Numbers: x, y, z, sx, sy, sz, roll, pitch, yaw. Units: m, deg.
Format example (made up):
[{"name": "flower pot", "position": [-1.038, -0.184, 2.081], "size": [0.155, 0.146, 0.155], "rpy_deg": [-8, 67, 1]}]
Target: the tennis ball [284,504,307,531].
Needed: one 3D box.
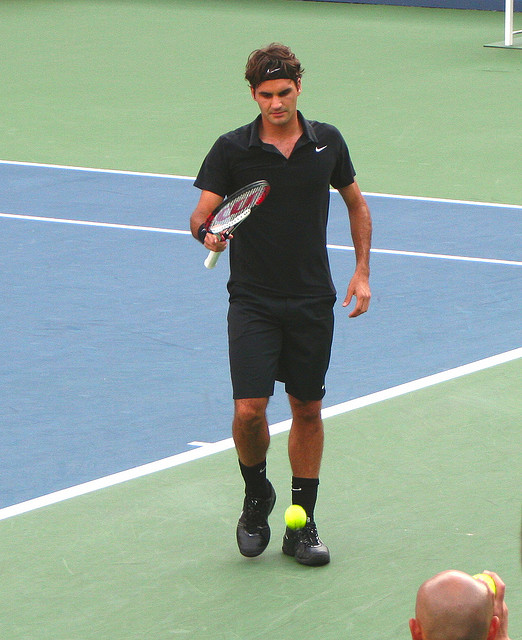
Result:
[{"name": "tennis ball", "position": [0.176, 0.928, 3.698], "size": [0.092, 0.109, 0.153], "rpy_deg": [1, 14, 10]}]

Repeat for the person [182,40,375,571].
[{"name": "person", "position": [0.084, -0.078, 3.651], "size": [0.804, 2.362, 0.859], "rpy_deg": [1, 17, 10]}]
